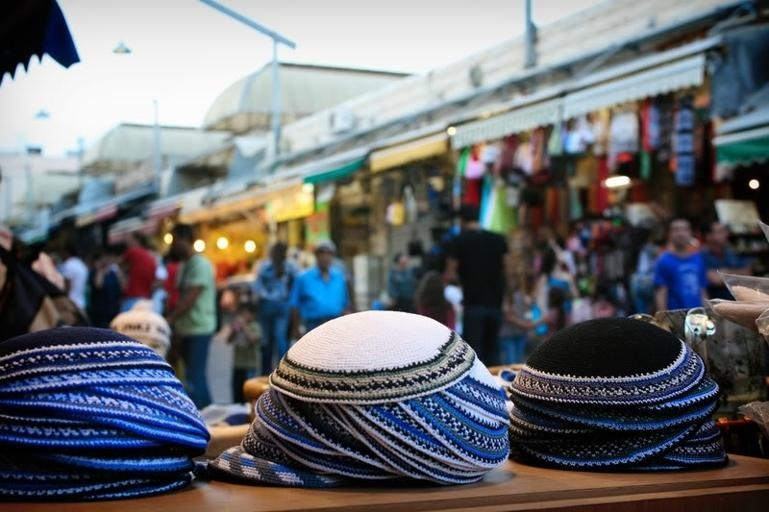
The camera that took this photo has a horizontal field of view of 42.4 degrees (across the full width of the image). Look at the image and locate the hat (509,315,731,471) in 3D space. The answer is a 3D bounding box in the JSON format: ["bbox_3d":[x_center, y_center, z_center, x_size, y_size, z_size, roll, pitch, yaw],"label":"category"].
[{"bbox_3d":[0.849,0.527,3.584,0.542,0.397,0.597,-3,-3,-4],"label":"hat"}]

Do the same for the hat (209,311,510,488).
[{"bbox_3d":[-0.060,0.480,3.631,0.743,0.414,0.612,-2,-2,2],"label":"hat"}]
